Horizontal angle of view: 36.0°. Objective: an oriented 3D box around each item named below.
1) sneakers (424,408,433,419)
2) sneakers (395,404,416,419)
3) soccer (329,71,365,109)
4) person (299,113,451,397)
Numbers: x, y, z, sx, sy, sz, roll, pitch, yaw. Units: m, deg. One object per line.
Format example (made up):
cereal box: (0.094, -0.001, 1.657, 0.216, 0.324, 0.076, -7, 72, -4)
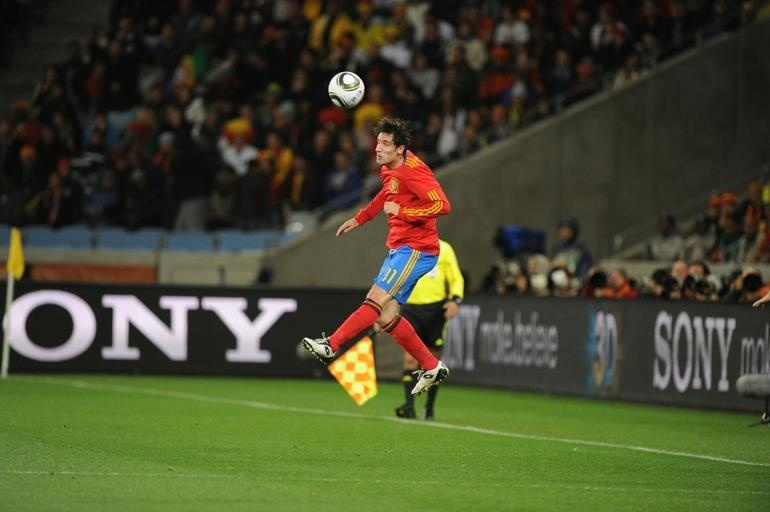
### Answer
sneakers: (0.605, 2.202, 16.292, 0.132, 0.151, 0.270, 1, 9, 6)
sneakers: (0.289, 2.180, 16.420, 0.283, 0.195, 0.346, 0, 9, 0)
soccer: (-0.489, -2.143, 15.303, 0.443, 0.469, 0.453, -9, 39, -33)
person: (0.073, 0.093, 14.876, 1.431, 3.663, 0.984, 0, 9, -2)
